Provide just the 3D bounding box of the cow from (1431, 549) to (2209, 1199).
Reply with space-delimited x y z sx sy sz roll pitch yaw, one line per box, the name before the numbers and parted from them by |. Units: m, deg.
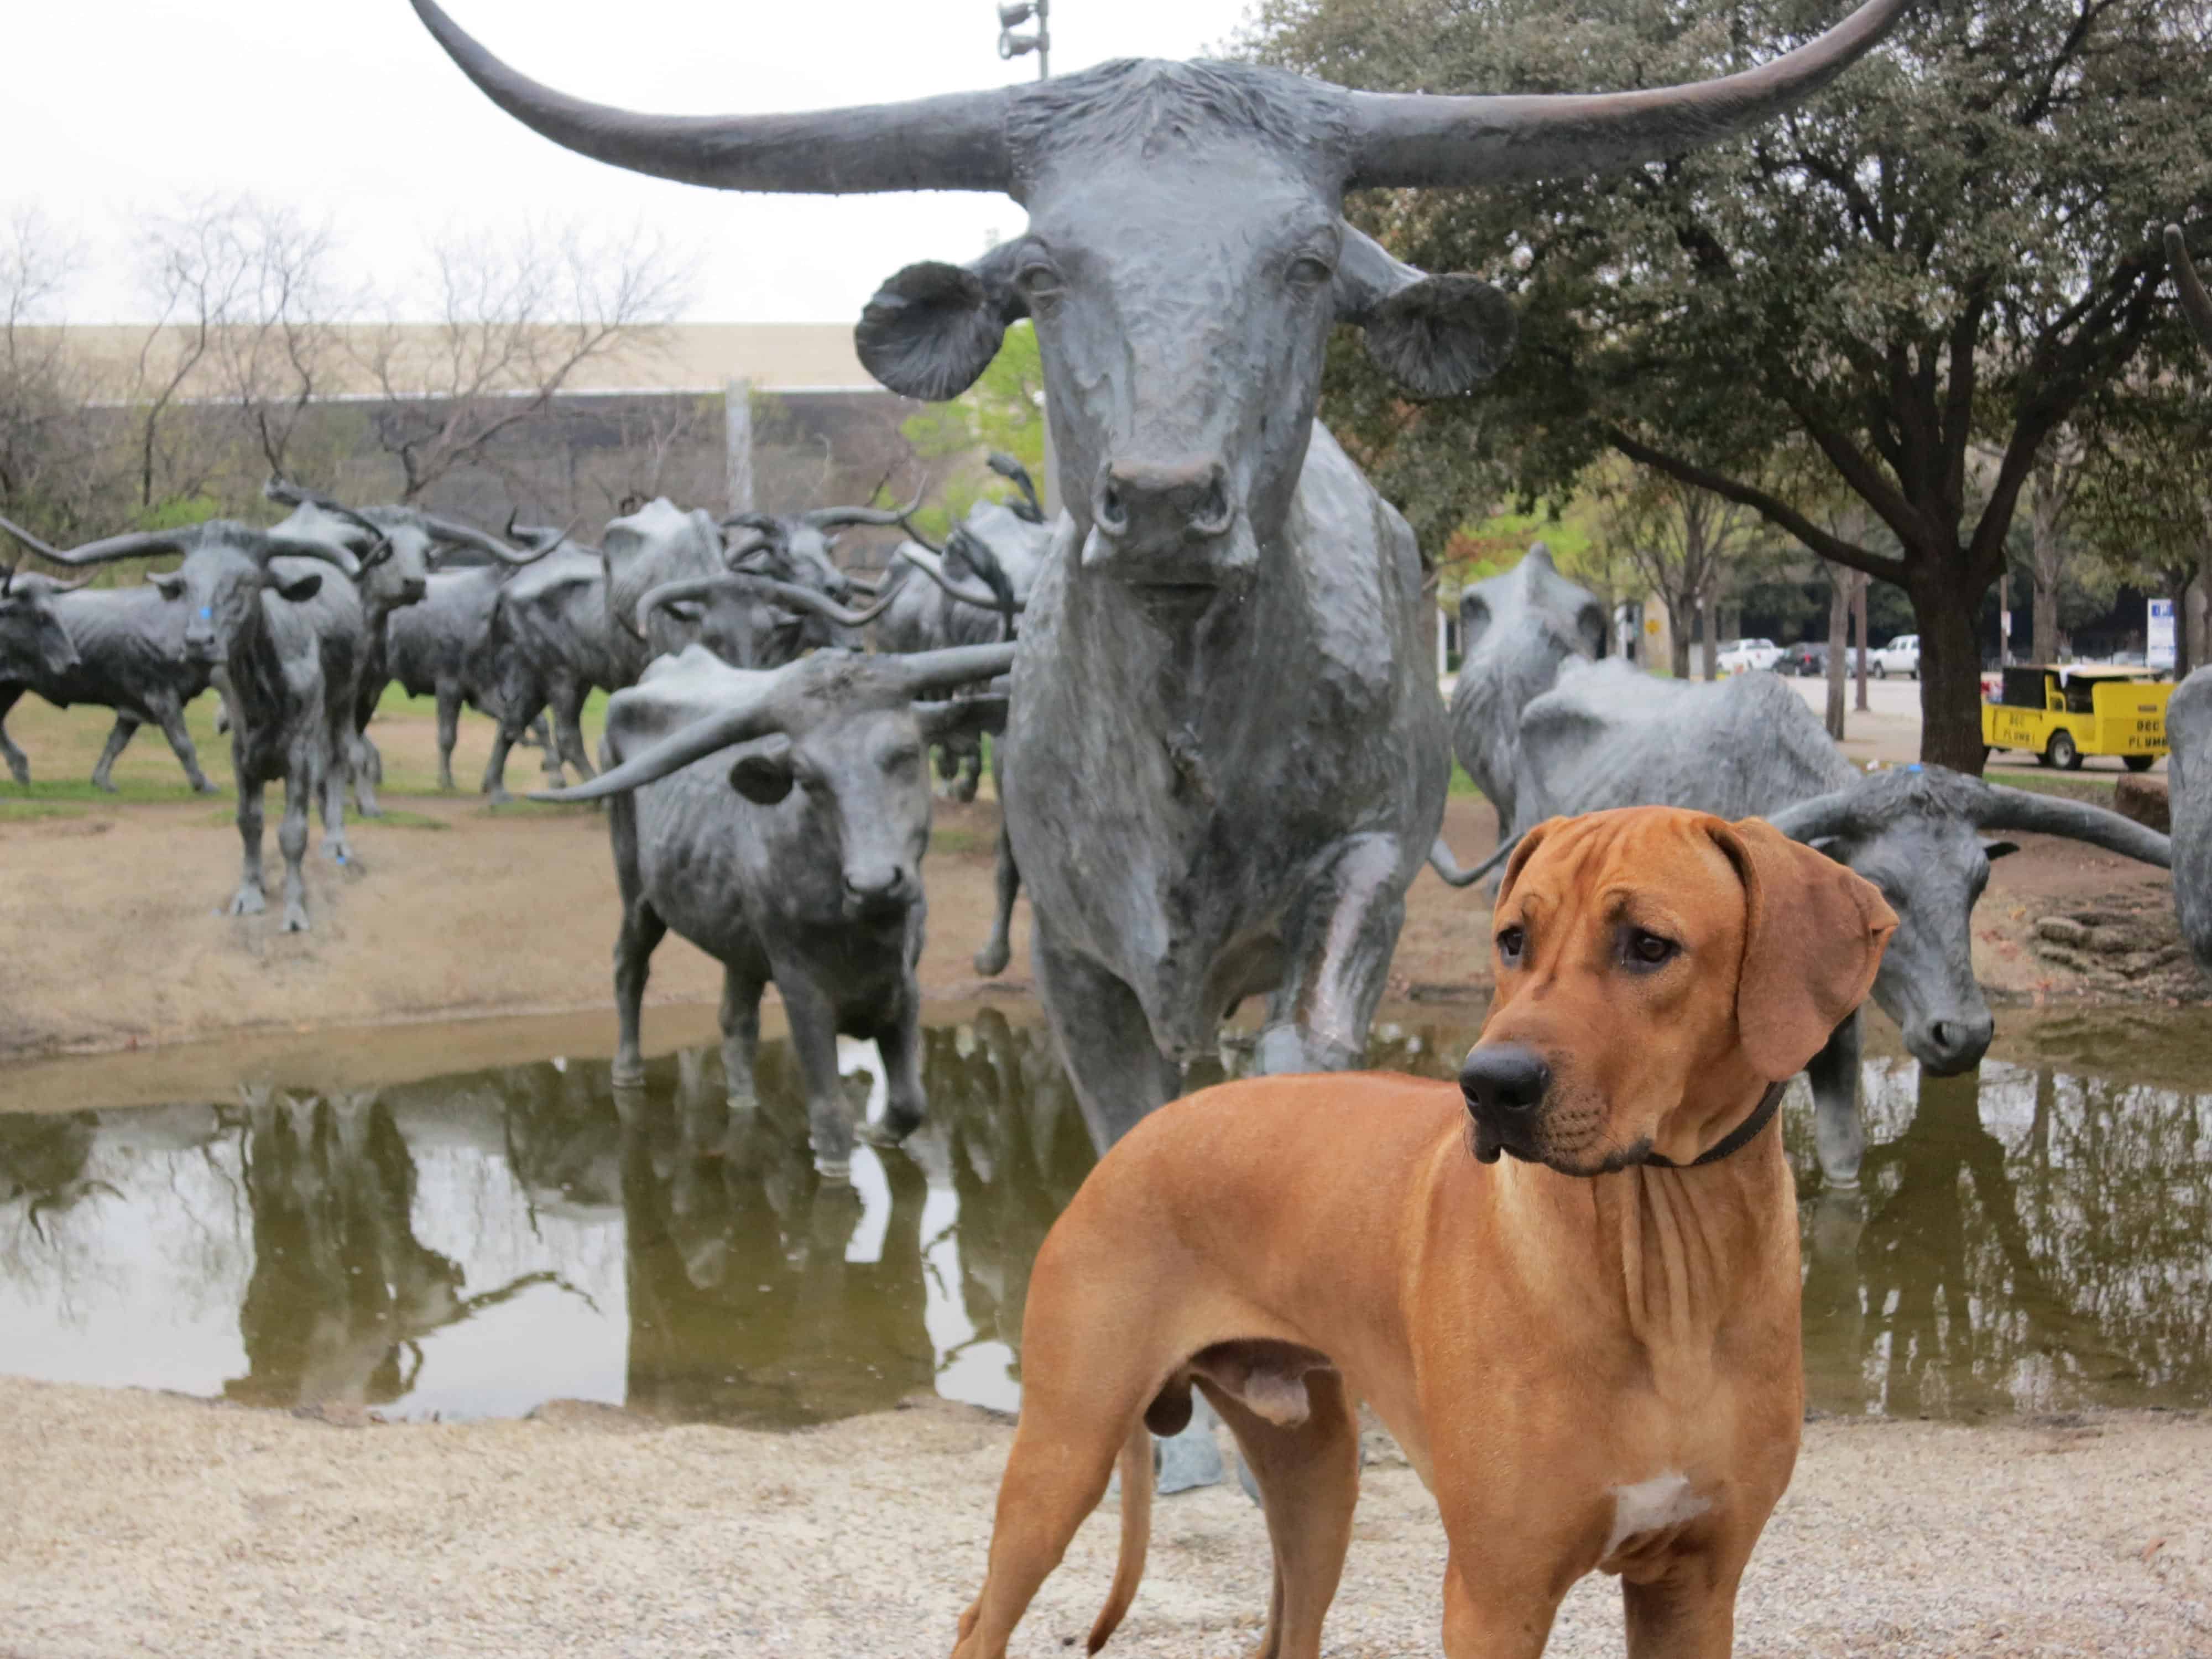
cow | 4.074 -0.203 24.071 3.145 3.314 5.528 -4 9 -28
